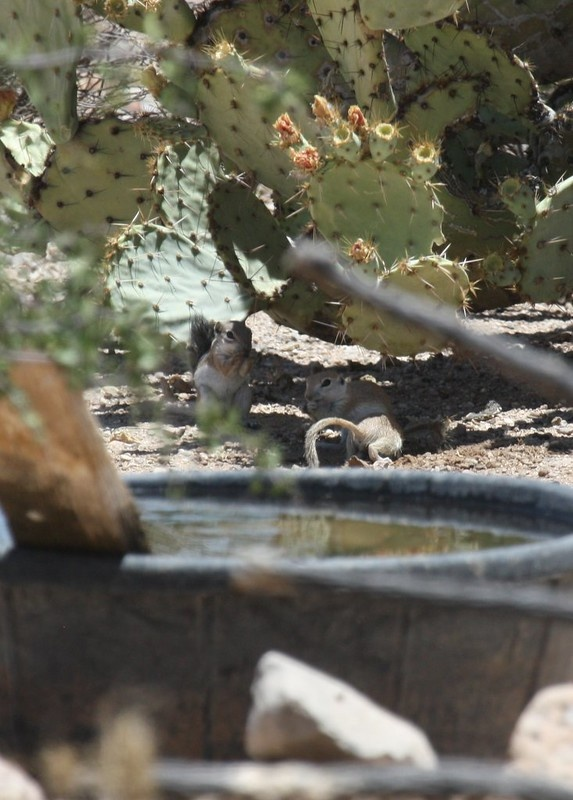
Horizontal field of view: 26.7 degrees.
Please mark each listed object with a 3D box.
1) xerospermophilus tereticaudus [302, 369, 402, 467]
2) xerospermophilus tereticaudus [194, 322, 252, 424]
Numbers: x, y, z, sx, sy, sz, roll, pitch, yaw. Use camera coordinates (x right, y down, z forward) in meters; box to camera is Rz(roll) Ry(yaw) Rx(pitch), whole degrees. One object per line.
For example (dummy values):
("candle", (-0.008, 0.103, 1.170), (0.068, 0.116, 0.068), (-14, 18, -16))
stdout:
("xerospermophilus tereticaudus", (0.254, 0.045, 4.227), (0.209, 0.231, 0.572), (3, -9, 45))
("xerospermophilus tereticaudus", (-0.248, -0.106, 4.449), (0.229, 0.388, 0.458), (-1, 30, -4))
